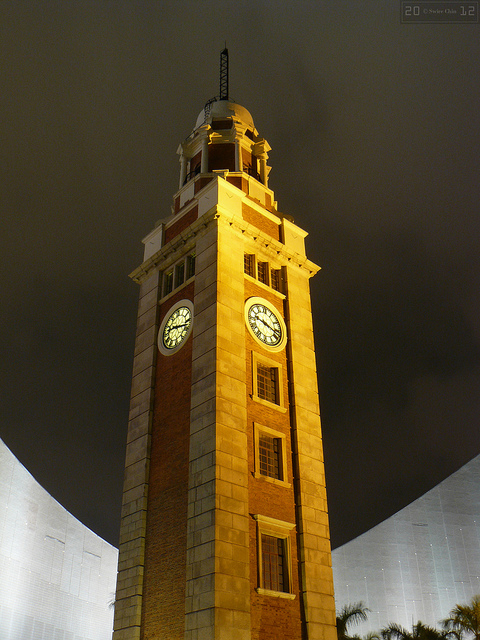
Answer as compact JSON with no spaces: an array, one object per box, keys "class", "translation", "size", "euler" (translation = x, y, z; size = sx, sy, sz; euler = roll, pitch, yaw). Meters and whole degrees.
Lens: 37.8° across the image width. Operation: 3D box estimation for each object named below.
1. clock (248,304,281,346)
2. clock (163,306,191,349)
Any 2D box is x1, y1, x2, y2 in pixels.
[{"class":"clock","translation":[1.022,0.288,30.555],"size":[0.095,1.517,1.579],"euler":[-33,-51,22]},{"class":"clock","translation":[-2.744,0.324,30.634],"size":[0.129,2.018,2.116],"euler":[26,-10,-36]}]
